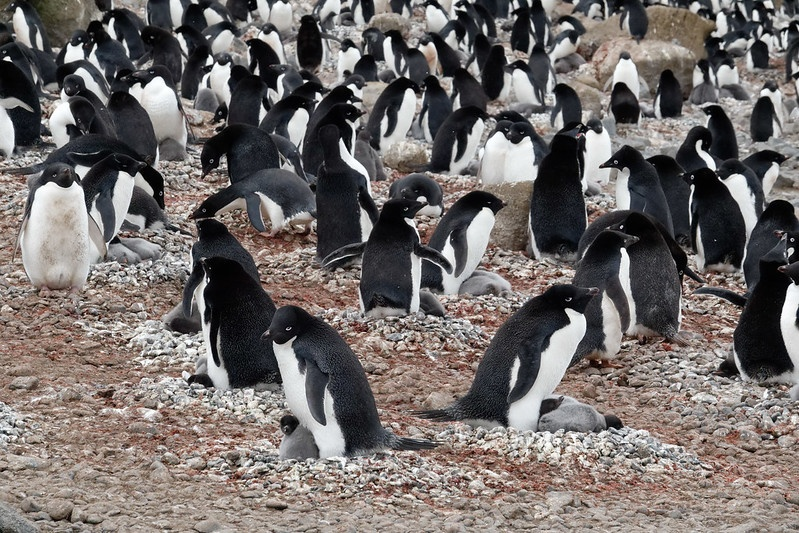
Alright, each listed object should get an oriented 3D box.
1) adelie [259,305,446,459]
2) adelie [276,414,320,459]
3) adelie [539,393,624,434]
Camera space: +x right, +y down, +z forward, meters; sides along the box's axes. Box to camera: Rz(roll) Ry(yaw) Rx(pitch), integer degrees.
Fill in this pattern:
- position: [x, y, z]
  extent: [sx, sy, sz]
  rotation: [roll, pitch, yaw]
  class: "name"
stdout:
- position: [-0.409, 1.034, 10.030]
  extent: [1.676, 1.187, 1.023]
  rotation: [5, -7, -7]
  class: "adelie"
- position: [-0.852, 1.455, 9.748]
  extent: [0.293, 0.358, 0.212]
  rotation: [10, 10, 34]
  class: "adelie"
- position: [1.550, 1.354, 10.249]
  extent: [0.504, 0.144, 0.382]
  rotation: [17, -10, -25]
  class: "adelie"
